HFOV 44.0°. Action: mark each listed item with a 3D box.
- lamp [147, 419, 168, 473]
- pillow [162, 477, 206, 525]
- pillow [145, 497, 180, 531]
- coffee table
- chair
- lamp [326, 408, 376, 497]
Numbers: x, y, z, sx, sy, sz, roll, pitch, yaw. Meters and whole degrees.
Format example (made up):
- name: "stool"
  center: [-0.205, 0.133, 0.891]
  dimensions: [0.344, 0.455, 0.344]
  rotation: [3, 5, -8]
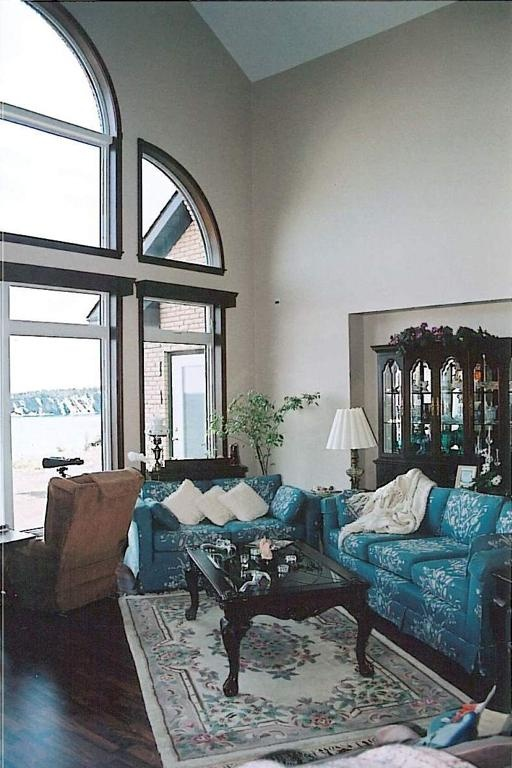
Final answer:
- name: "lamp"
  center: [-0.924, 0.553, 5.972]
  dimensions: [0.170, 0.454, 0.618]
  rotation: [0, -1, -9]
- name: "pillow"
  center: [-0.543, 0.920, 4.830]
  dimensions: [0.083, 0.265, 0.281]
  rotation: [-43, 1, 43]
- name: "pillow"
  center: [-0.672, 0.946, 4.546]
  dimensions: [0.231, 0.199, 0.214]
  rotation: [0, -1, -9]
- name: "coffee table"
  center: [0.118, 1.126, 3.229]
  dimensions: [0.525, 0.342, 0.709]
  rotation: [3, -2, -18]
- name: "chair"
  center: [-1.180, 1.002, 4.315]
  dimensions: [0.893, 0.932, 0.693]
  rotation: [0, -2, 43]
- name: "lamp"
  center: [0.831, 0.574, 5.539]
  dimensions: [0.389, 0.725, 0.977]
  rotation: [-1, -1, 10]
